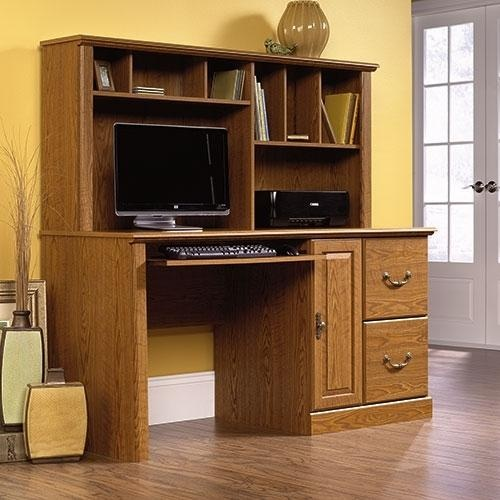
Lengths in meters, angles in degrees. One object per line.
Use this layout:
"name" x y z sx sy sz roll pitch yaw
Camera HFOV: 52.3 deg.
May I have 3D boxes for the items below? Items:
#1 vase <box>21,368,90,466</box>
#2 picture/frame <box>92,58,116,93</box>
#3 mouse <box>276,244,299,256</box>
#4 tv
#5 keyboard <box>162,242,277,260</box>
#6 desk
"vase" -0.650 0.580 1.700 0.200 0.279 0.092 -3 1 -13
"picture/frame" -0.577 -0.694 2.024 0.076 0.126 0.202 -3 1 -14
"mouse" 0.159 0.001 2.043 0.033 0.038 0.122 -2 6 -33
"tv" -0.342 -0.313 2.131 0.503 0.386 0.210 1 -4 -35
"keyboard" -0.120 0.006 1.849 0.408 0.045 0.251 -3 1 -31
"desk" 0.009 0.342 2.208 1.563 0.688 0.649 -3 1 -32
